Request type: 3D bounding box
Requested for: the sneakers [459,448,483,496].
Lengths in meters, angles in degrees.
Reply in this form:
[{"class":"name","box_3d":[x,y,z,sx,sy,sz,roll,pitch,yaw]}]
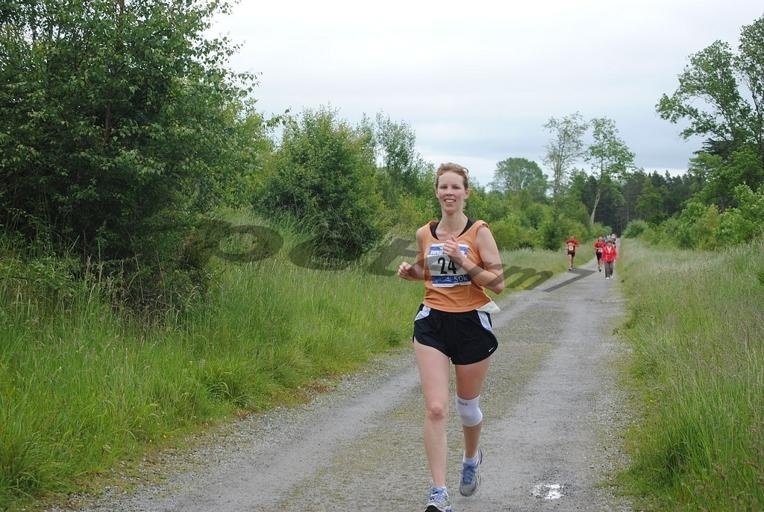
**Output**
[{"class":"sneakers","box_3d":[1.030,2.485,7.990,0.176,0.547,0.230,4,-8,13]}]
